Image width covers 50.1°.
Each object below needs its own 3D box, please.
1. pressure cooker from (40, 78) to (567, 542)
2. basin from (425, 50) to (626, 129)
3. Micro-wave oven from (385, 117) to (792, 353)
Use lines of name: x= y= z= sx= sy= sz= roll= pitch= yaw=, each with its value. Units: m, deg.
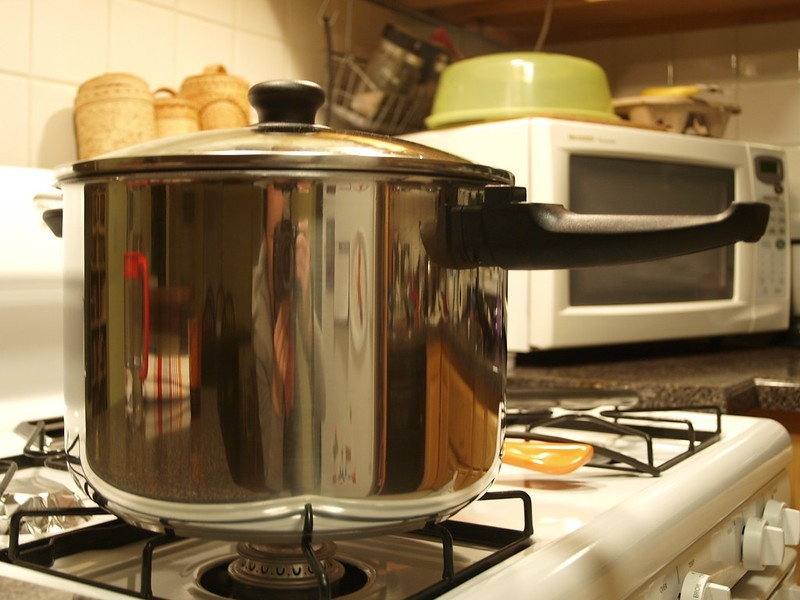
pressure cooker: x=-0.052 y=0.019 z=0.565 sx=0.370 sy=0.251 sz=0.237 roll=-1 pitch=-3 yaw=27
basin: x=0.174 y=-0.314 z=1.297 sx=0.161 sy=0.056 sz=0.166 roll=-1 pitch=5 yaw=0
Micro-wave oven: x=0.359 y=-0.092 z=1.347 sx=0.556 sy=0.356 sz=0.353 roll=0 pitch=1 yaw=-37
